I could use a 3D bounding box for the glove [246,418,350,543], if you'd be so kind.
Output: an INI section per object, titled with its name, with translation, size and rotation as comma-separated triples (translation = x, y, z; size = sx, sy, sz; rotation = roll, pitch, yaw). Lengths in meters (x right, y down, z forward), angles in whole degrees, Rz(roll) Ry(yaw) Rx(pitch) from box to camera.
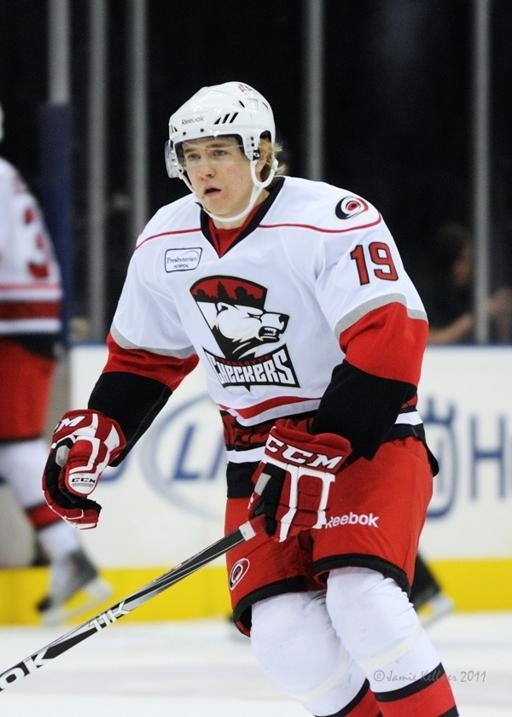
[glove]
translation = 0.058, 0.200, 1.578
size = 0.181, 0.193, 0.085
rotation = -6, -7, 44
